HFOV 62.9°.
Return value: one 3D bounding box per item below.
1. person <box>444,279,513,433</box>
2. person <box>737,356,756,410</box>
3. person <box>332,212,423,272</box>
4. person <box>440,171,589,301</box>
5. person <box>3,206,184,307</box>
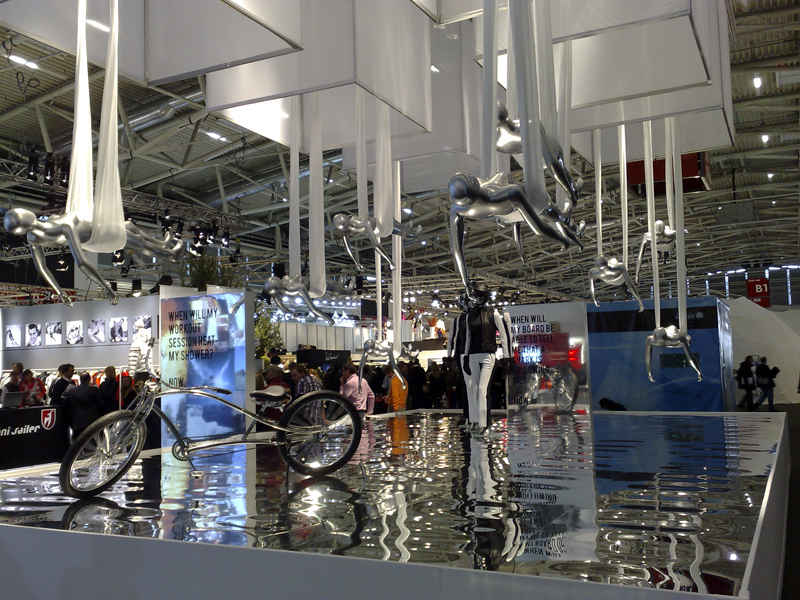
[{"bbox_3d":[0.780,0.618,6.483,0.570,1.443,1.032,-2,-5,2],"label":"person"},{"bbox_3d":[9.225,2.240,17.651,0.468,1.439,2.053,-4,-5,28],"label":"person"},{"bbox_3d":[-0.098,-0.384,4.867,0.290,0.443,1.251,-2,0,30],"label":"person"},{"bbox_3d":[0.493,-0.330,2.971,0.588,0.387,0.840,-16,-18,43],"label":"person"},{"bbox_3d":[-1.560,-0.223,3.421,0.848,0.504,0.513,0,-5,-17],"label":"person"}]
